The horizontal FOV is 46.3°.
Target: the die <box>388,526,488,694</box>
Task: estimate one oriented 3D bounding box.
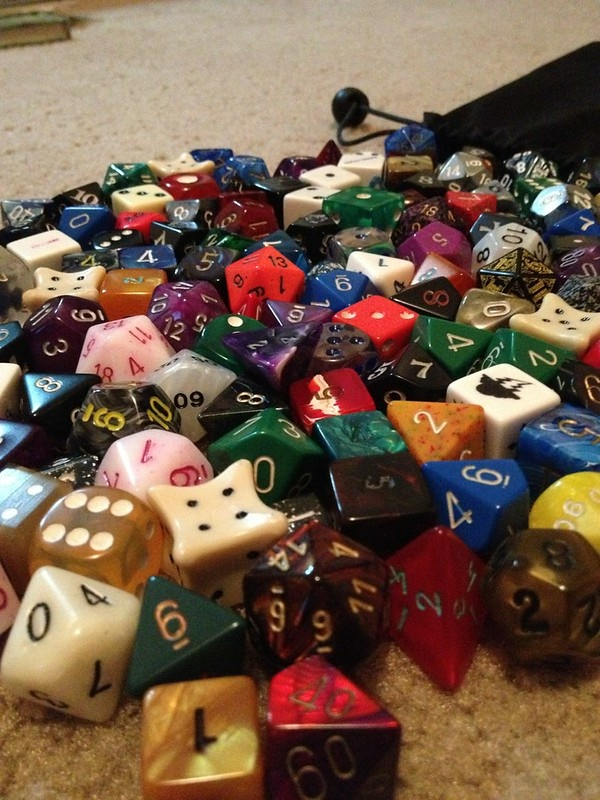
[{"bbox_3d":[0.142,0.226,0.728,0.122,0.106,0.108,-19,34,-19],"label":"die"}]

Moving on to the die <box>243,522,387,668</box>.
[{"bbox_3d":[0.014,0.198,0.707,0.135,0.118,0.099,2,31,10],"label":"die"}]

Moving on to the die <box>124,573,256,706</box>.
[{"bbox_3d":[-0.104,0.225,0.655,0.117,0.077,0.107,10,48,-5],"label":"die"}]
